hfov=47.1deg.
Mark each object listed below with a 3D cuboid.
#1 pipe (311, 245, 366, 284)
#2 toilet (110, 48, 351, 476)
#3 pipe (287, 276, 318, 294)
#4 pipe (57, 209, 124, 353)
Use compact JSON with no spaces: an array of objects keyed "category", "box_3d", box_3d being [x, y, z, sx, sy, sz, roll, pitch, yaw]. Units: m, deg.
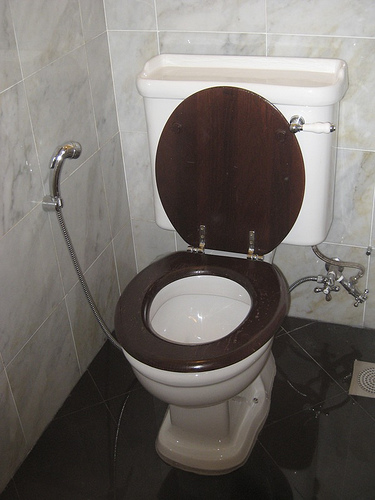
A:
[{"category":"pipe","box_3d":[0.440,0.036,1.226,0.078,0.105,0.170,-2,18,5]},{"category":"toilet","box_3d":[0.072,0.062,1.041,0.415,0.853,0.626,8,33,16]},{"category":"pipe","box_3d":[0.374,0.106,1.377,0.088,0.037,0.018,-25,34,35]},{"category":"pipe","box_3d":[-0.292,0.088,1.251,0.061,0.486,0.052,7,29,29]}]
